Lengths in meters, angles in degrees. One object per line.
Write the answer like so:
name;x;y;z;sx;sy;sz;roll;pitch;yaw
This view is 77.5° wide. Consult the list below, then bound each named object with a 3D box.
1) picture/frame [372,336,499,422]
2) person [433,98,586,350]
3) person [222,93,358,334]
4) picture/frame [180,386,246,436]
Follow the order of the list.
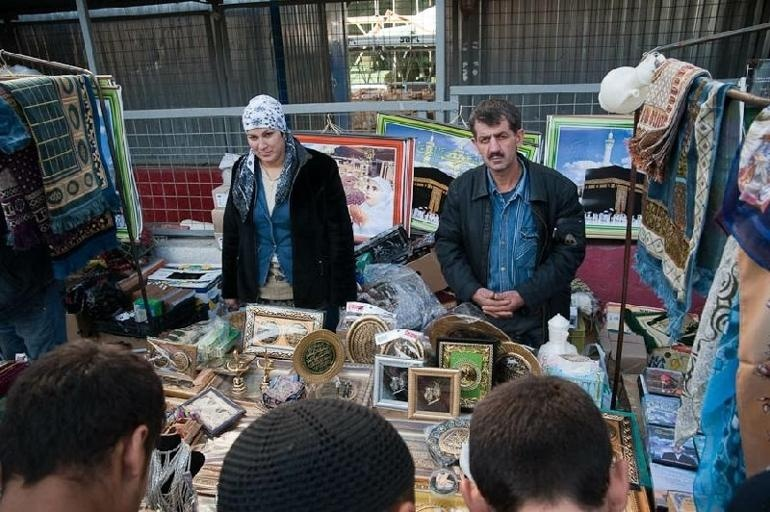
picture/frame;0.279;0.653;2.494;0.458;0.284;0.034;2;-2;24
person;0.875;-0.207;3.347;1.023;1.654;0.598;1;21;6
person;-0.761;-0.277;3.644;1.050;1.750;0.497;0;21;2
picture/frame;-0.986;0.848;2.706;0.059;0.268;0.287;-28;53;-34
